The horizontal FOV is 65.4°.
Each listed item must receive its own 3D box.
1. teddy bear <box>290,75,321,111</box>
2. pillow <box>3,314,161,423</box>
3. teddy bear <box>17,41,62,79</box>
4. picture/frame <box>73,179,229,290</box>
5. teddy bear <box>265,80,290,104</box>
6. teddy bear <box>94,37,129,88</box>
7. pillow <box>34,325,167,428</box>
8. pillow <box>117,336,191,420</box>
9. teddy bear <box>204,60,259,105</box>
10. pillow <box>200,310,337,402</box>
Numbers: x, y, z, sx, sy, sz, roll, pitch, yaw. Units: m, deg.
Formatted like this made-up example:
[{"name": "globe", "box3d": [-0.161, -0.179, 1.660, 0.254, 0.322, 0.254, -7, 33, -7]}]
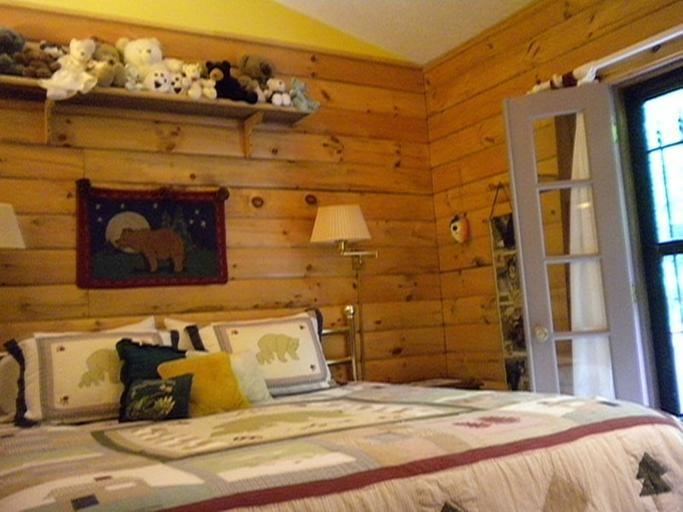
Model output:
[{"name": "teddy bear", "box3d": [-0.265, -1.064, 3.598, 0.236, 0.167, 0.123, 38, -19, -25]}, {"name": "pillow", "box3d": [-1.329, 0.586, 2.651, 0.503, 0.470, 0.144, -4, -29, -25]}, {"name": "teddy bear", "box3d": [-1.680, -1.073, 2.998, 0.237, 0.180, 0.096, 8, 11, 22]}, {"name": "picture/frame", "box3d": [-1.230, -0.126, 3.313, 0.728, 0.519, 0.081, 0, -2, -29]}, {"name": "teddy bear", "box3d": [-0.429, -1.073, 3.530, 0.090, 0.140, 0.184, 19, 9, -47]}, {"name": "teddy bear", "box3d": [-1.375, -1.140, 3.142, 0.124, 0.288, 0.221, -14, -14, 40]}, {"name": "pillow", "box3d": [-1.198, 0.605, 2.620, 0.443, 0.296, 0.058, -1, -32, -20]}, {"name": "pillow", "box3d": [-0.890, 0.616, 2.658, 0.383, 0.354, 0.116, -4, -23, 24]}, {"name": "teddy bear", "box3d": [-0.723, -1.088, 3.438, 0.237, 0.336, 0.155, -33, -8, -34]}, {"name": "pillow", "box3d": [-0.368, 0.575, 3.143, 0.670, 0.417, 0.196, 0, -21, -35]}]
